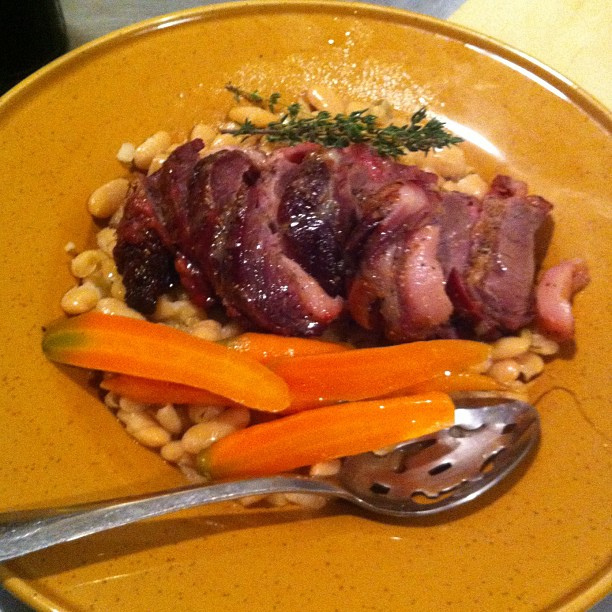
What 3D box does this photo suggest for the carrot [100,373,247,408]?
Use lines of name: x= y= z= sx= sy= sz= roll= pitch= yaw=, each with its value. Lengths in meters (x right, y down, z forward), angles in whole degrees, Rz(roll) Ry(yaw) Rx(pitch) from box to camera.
carrot: x=-0.381 y=0.243 z=2.097 sx=0.404 sy=0.046 sz=0.071 roll=6 pitch=27 yaw=1
